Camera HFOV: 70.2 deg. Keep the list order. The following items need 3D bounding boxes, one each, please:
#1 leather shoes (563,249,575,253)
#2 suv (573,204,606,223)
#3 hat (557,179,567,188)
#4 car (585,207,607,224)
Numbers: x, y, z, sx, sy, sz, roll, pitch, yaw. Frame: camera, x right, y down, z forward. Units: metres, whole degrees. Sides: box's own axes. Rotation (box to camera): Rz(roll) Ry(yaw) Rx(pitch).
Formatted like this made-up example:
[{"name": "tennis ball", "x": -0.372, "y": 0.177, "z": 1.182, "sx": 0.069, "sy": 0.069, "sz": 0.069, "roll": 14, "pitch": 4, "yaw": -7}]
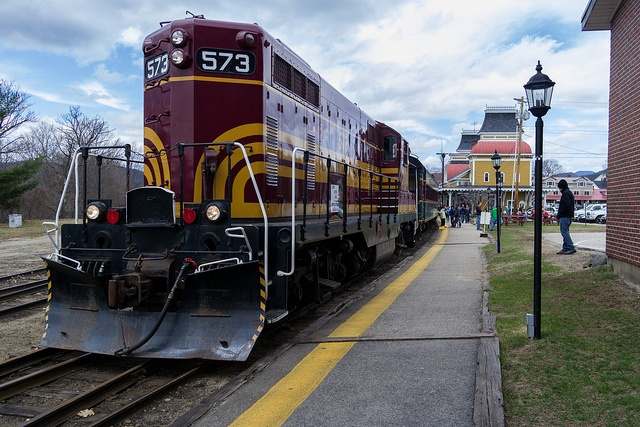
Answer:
[{"name": "leather shoes", "x": 7.451, "y": 1.138, "z": 13.648, "sx": 0.372, "sy": 0.172, "sz": 0.134, "roll": 1, "pitch": 3, "yaw": 16}, {"name": "suv", "x": 23.112, "y": 0.025, "z": 39.138, "sx": 1.622, "sy": 1.282, "sz": 2.575, "roll": -3, "pitch": 4, "yaw": -42}, {"name": "hat", "x": 7.206, "y": -0.907, "z": 13.612, "sx": 0.230, "sy": 0.196, "sz": 0.342, "roll": -1, "pitch": -2, "yaw": 15}, {"name": "car", "x": 23.142, "y": 0.143, "z": 38.399, "sx": 2.226, "sy": 1.213, "sz": 1.301, "roll": -1, "pitch": -2, "yaw": -38}]
